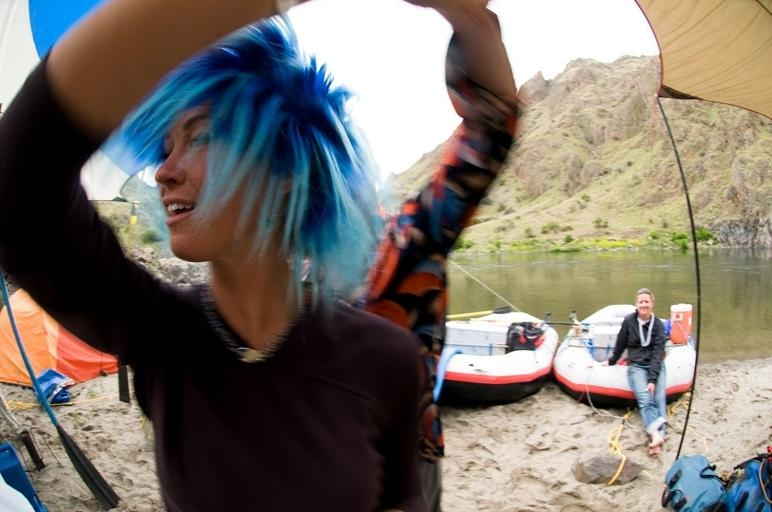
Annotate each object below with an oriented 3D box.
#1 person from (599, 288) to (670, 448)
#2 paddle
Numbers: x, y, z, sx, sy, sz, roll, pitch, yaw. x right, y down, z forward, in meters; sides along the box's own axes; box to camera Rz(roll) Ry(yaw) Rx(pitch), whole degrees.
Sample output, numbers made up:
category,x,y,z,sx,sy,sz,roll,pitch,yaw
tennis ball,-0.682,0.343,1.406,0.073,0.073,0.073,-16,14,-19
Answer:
category,x,y,z,sx,sy,sz,roll,pitch,yaw
person,3.938,1.660,9.400,0.715,2.407,1.107,1,9,8
paddle,-3.684,1.689,6.830,0.364,3.323,0.235,-28,36,-20
